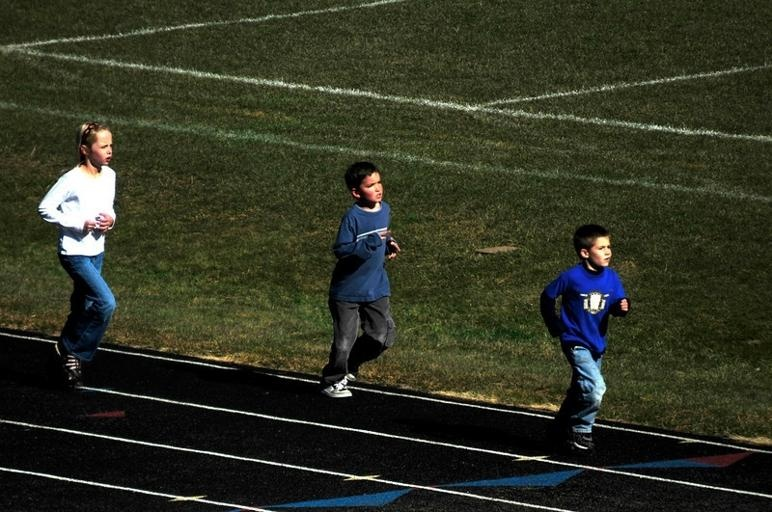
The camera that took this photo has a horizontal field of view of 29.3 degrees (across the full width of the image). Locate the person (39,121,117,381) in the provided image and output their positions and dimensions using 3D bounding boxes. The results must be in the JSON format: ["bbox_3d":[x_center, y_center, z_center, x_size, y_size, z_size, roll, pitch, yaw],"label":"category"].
[{"bbox_3d":[-4.204,0.016,20.390,0.937,3.609,0.716,2,15,-12],"label":"person"}]

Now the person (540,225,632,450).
[{"bbox_3d":[2.623,1.108,19.685,0.955,2.988,0.616,15,18,31],"label":"person"}]

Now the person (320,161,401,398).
[{"bbox_3d":[-0.320,0.371,20.583,0.936,3.308,0.681,3,15,-7],"label":"person"}]
